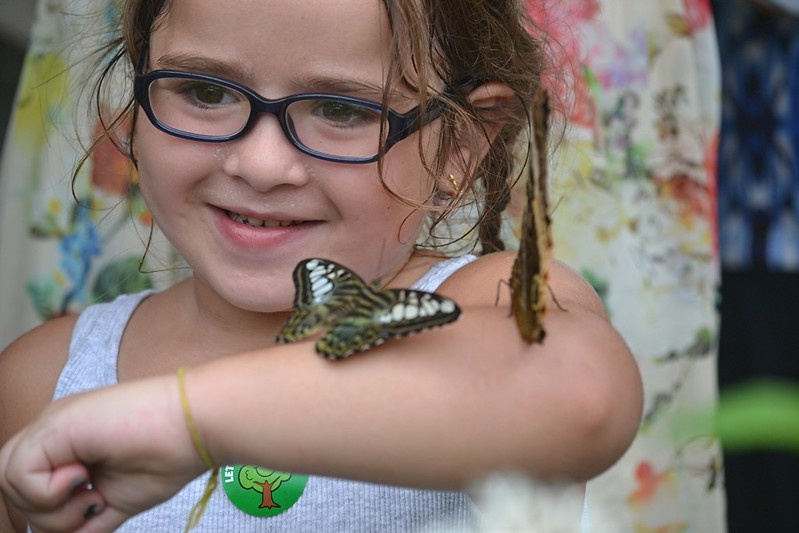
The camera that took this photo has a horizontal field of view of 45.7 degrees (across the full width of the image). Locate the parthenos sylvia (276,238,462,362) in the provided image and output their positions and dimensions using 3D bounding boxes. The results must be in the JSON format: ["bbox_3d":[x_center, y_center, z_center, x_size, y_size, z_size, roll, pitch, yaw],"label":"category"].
[{"bbox_3d":[-0.053,0.098,1.758,0.302,0.158,0.178,22,80,38],"label":"parthenos sylvia"}]

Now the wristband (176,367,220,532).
[{"bbox_3d":[-0.418,0.412,1.928,0.085,0.534,0.190,-9,58,-13],"label":"wristband"}]
